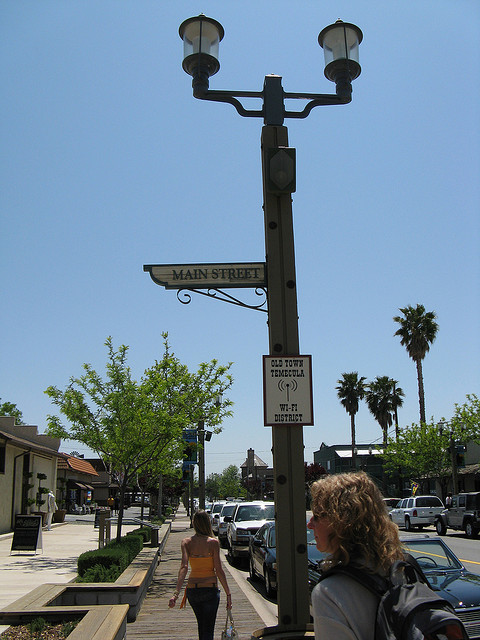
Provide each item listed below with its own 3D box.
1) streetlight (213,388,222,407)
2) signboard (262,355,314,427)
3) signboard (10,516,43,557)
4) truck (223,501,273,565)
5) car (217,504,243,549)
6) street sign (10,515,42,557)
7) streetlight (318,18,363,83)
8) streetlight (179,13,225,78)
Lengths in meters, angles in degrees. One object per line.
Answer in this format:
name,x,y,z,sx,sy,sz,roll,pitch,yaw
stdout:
streetlight,-0.674,2.272,20.358,0.175,0.496,0.665,-1,-12,-5
signboard,0.349,0.509,5.110,0.357,0.532,0.202,-3,-12,4
signboard,-5.538,5.605,18.121,0.643,1.055,0.563,2,-18,-5
truck,0.178,5.563,18.770,1.036,0.907,2.013,0,-26,-4
car,-0.321,7.279,25.314,1.048,1.147,2.294,0,-24,-3
street sign,-5.508,5.572,18.115,0.675,1.007,0.546,1,-8,-2
streetlight,0.895,-2.405,6.245,0.385,0.648,0.442,-1,-14,0
streetlight,-0.330,-2.288,5.885,0.375,0.518,0.394,-3,-12,0
